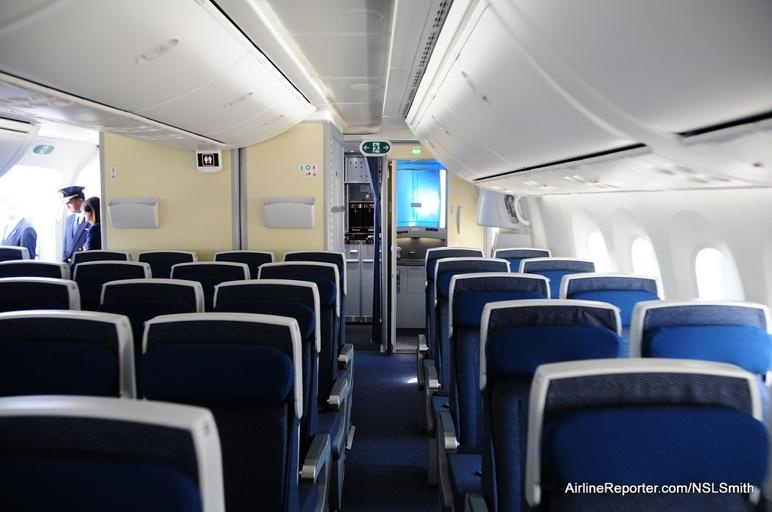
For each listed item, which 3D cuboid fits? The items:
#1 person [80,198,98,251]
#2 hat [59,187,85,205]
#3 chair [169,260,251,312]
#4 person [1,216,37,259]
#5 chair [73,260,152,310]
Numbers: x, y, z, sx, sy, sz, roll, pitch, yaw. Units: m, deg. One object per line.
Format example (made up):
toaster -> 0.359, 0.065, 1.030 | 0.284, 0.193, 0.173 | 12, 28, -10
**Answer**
person -> -4.547, -0.531, 8.123 | 0.220, 0.851, 1.122 | 2, 0, -30
hat -> -5.337, -1.050, 8.963 | 0.267, 0.321, 0.423 | 2, 0, -37
chair -> -1.520, 0.299, 4.478 | 0.568, 0.500, 0.450 | 1, -8, -11
person -> -5.877, -0.302, 8.376 | 0.713, 0.658, 0.397 | -1, -8, 25
chair -> -2.016, 0.215, 3.846 | 0.381, 0.334, 0.198 | -2, 0, -7
